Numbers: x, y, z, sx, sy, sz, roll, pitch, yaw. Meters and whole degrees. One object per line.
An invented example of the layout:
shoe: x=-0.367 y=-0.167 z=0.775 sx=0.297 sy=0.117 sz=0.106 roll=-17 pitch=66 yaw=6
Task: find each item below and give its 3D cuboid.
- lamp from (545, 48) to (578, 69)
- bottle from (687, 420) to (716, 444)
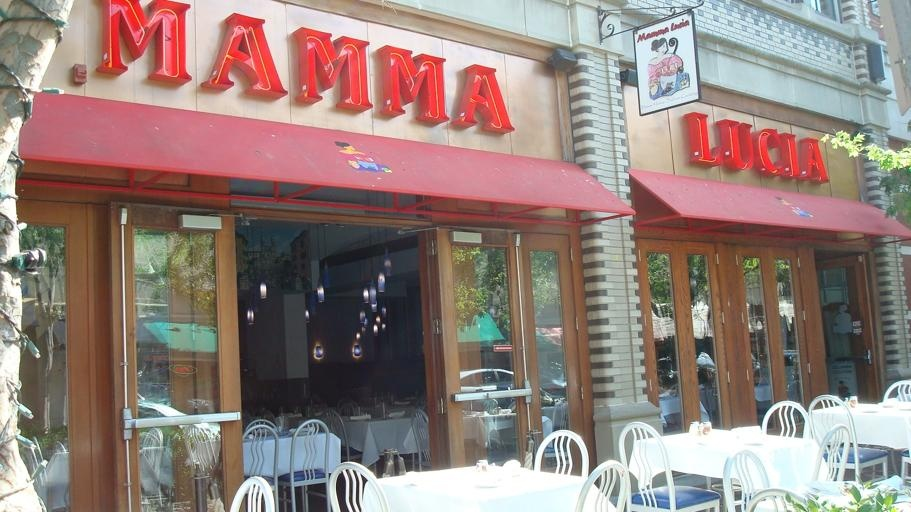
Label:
lamp: x=1.703 y=-3.189 z=13.232 sx=0.496 sy=0.363 sz=0.261 roll=-1 pitch=-11 yaw=-11
bottle: x=3.362 y=2.410 z=11.415 sx=0.234 sy=0.186 sz=0.284 roll=-3 pitch=0 yaw=-34
